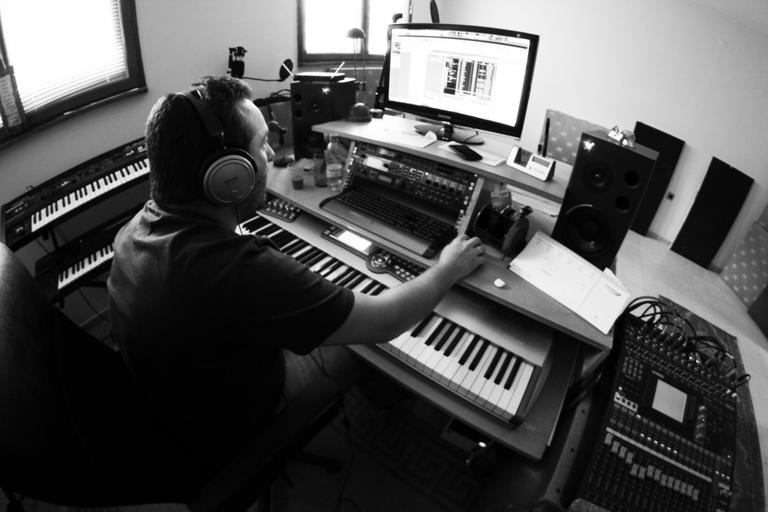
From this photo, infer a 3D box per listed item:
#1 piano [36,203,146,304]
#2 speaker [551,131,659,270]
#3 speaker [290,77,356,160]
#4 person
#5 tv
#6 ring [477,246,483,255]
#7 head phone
[{"bbox_3d":[-1.722,-0.033,2.993,0.121,0.221,0.615,-17,22,28],"label":"piano"},{"bbox_3d":[0.986,-0.240,2.369,0.316,0.525,0.196,19,36,19],"label":"speaker"},{"bbox_3d":[-0.347,-0.812,2.999,0.286,0.552,0.295,21,35,30],"label":"speaker"},{"bbox_3d":[-0.318,0.062,2.298,1.217,1.536,0.930,34,48,25],"label":"person"},{"bbox_3d":[0.393,-0.961,2.833,0.887,0.534,0.191,21,36,32],"label":"tv"},{"bbox_3d":[0.452,-0.025,2.427,0.034,0.037,0.038,-14,18,-42],"label":"ring"},{"bbox_3d":[-0.677,-0.390,2.116,0.204,0.406,0.414,-16,6,-21],"label":"head phone"}]
